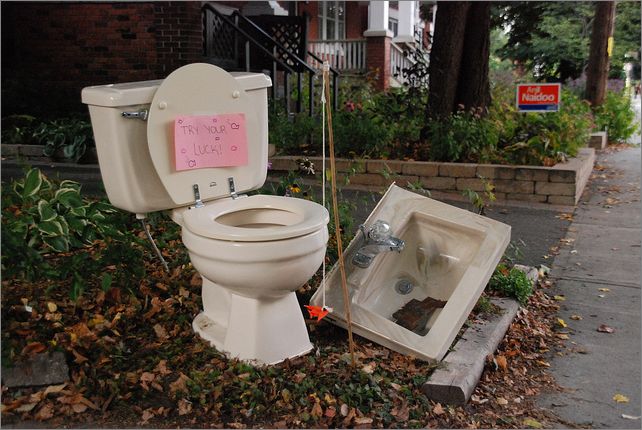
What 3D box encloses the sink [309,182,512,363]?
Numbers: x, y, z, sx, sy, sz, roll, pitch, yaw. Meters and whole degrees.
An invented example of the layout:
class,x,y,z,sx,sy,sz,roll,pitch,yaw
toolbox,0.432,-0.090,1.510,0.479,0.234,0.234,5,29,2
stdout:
class,x,y,z,sx,sy,sz,roll,pitch,yaw
sink,0.690,0.368,3.354,1.084,0.573,1.378,23,70,28
